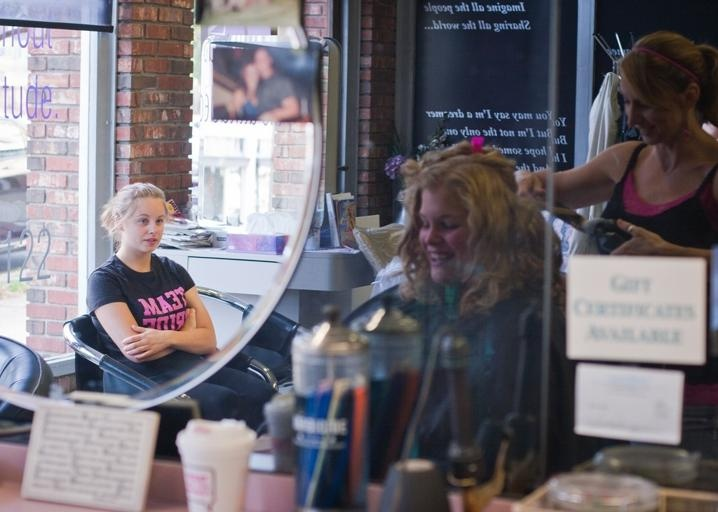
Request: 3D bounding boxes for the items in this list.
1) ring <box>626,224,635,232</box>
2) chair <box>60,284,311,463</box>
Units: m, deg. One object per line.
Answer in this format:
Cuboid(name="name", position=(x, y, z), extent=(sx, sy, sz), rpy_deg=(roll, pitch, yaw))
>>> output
Cuboid(name="ring", position=(0.433, -0.044, 1.175), extent=(0.012, 0.012, 0.009), rpy_deg=(-7, 51, -17))
Cuboid(name="chair", position=(-0.277, 0.181, 1.454), extent=(0.386, 0.329, 0.340), rpy_deg=(-5, 12, 37))
